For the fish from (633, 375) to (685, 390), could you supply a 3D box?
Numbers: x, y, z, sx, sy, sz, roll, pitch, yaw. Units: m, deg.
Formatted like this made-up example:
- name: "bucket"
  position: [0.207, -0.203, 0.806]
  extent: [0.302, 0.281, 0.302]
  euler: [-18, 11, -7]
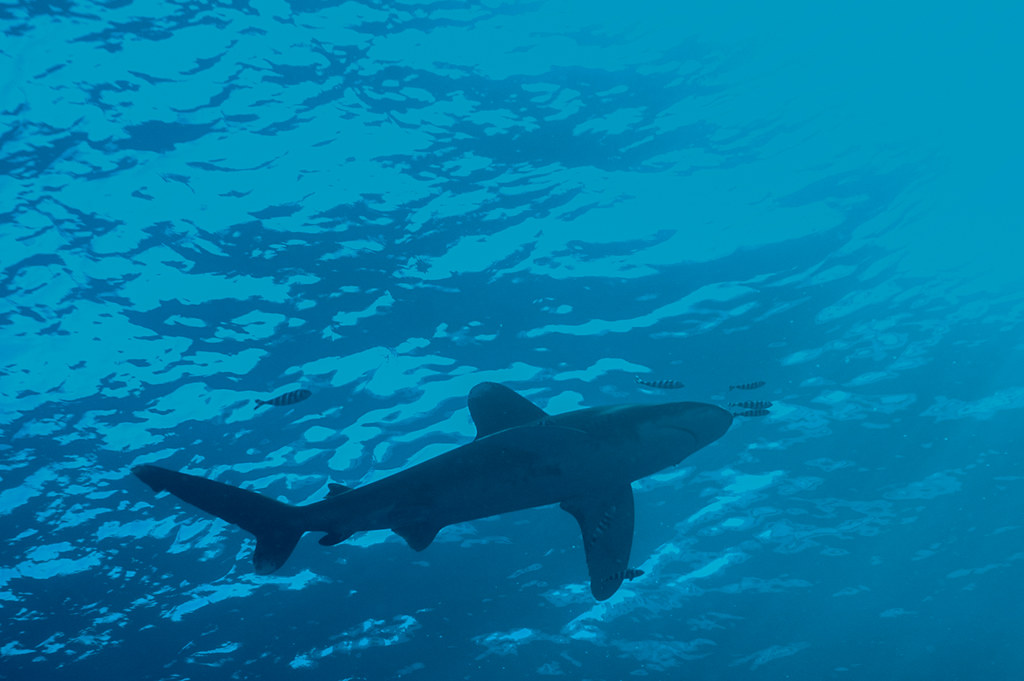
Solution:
- name: "fish"
  position: [3.492, 1.099, 29.333]
  extent: [1.733, 0.335, 0.319]
  euler: [3, 0, 5]
